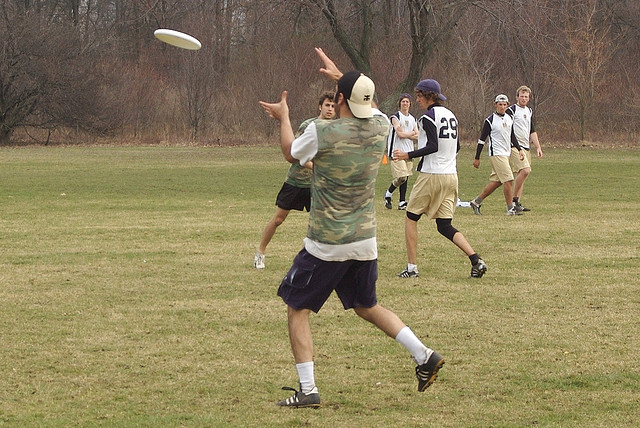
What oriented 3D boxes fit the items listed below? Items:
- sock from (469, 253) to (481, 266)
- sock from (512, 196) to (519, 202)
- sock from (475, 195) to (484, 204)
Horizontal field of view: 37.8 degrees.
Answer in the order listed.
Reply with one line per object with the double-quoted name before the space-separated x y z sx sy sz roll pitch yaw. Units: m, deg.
"sock" 3.162 0.939 19.147 0.203 0.248 0.225 1 6 9
"sock" 5.037 -0.371 24.126 0.112 0.118 0.136 1 -5 -19
"sock" 4.073 -0.344 24.013 0.165 0.146 0.191 3 12 6
